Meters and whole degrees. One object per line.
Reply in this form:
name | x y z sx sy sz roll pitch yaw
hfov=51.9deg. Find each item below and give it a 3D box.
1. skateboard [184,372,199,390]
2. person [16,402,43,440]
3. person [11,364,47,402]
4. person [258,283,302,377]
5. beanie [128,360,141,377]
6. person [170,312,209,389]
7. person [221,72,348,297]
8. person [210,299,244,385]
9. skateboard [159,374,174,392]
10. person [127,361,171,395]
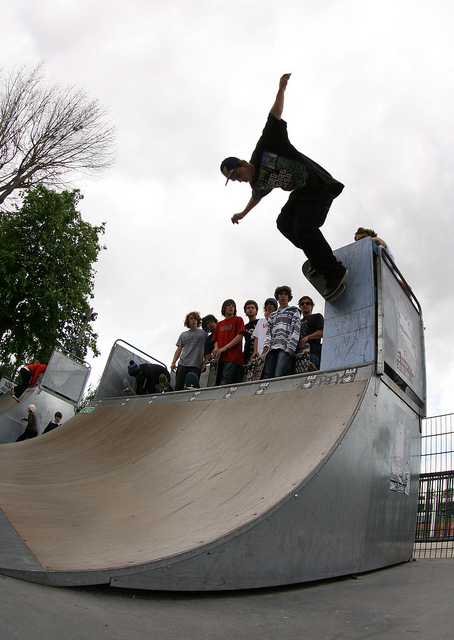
skateboard | -0.472 0.811 6.346 0.173 0.223 0.187 13 -12 -24
person | -4.335 2.197 10.157 0.582 0.329 0.897 -2 22 10
person | -4.798 1.496 11.345 0.638 0.937 0.789 14 -12 -28
person | 0.657 0.109 5.318 0.401 1.118 0.664 10 -11 -11
beanie | -1.488 0.766 7.479 0.162 0.241 0.395 12 -12 -19
person | -0.535 0.427 6.746 0.440 1.178 0.714 9 -11 -7
person | 0.469 -1.127 4.072 0.955 1.982 0.899 -17 -13 -2
person | 0.046 0.276 6.142 0.384 1.176 0.683 12 -12 -22
skateboard | -0.935 0.950 6.999 0.106 0.320 0.124 -20 -14 -47
person | -1.212 0.927 7.343 0.520 0.513 0.944 16 -13 -35
